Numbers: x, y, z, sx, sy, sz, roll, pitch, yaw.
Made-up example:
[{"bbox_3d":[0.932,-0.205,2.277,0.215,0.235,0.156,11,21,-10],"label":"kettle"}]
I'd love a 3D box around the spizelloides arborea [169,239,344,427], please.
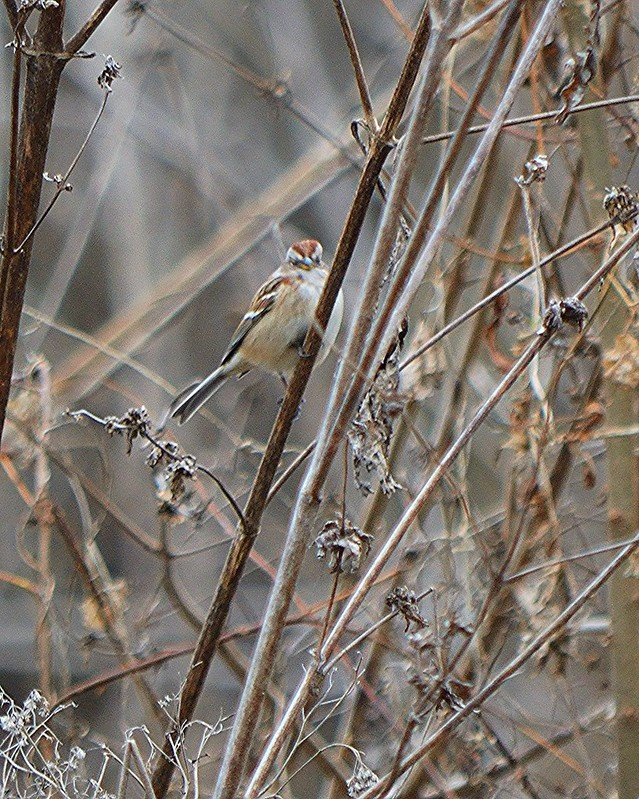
[{"bbox_3d":[-0.319,-0.281,5.366,0.758,0.332,0.618,-17,-104,24],"label":"spizelloides arborea"}]
